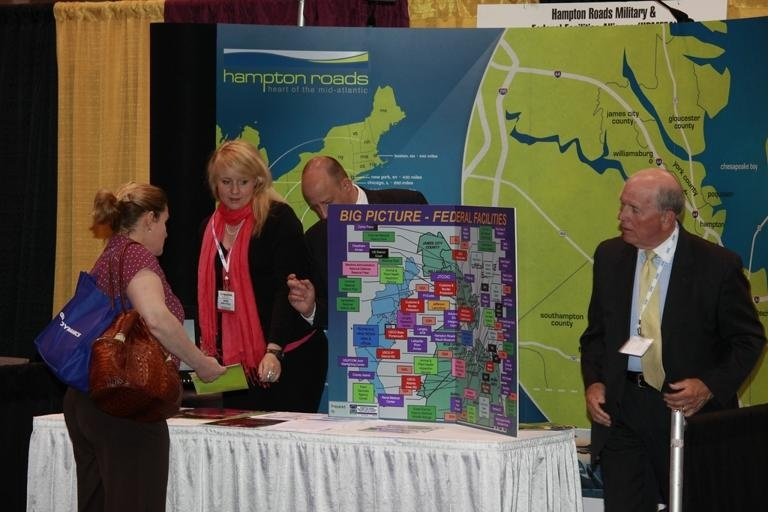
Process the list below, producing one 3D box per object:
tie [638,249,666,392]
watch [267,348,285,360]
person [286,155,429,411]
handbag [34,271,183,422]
[{"bbox_3d":[1.518,0.362,5.505,0.163,0.781,0.118,3,2,21],"label":"tie"},{"bbox_3d":[-0.670,0.605,5.924,0.102,0.064,0.097,2,2,-14],"label":"watch"},{"bbox_3d":[-0.238,-0.092,6.134,0.521,1.055,0.968,3,2,33],"label":"person"},{"bbox_3d":[-1.457,0.519,5.204,0.627,0.658,0.334,25,8,20],"label":"handbag"}]
